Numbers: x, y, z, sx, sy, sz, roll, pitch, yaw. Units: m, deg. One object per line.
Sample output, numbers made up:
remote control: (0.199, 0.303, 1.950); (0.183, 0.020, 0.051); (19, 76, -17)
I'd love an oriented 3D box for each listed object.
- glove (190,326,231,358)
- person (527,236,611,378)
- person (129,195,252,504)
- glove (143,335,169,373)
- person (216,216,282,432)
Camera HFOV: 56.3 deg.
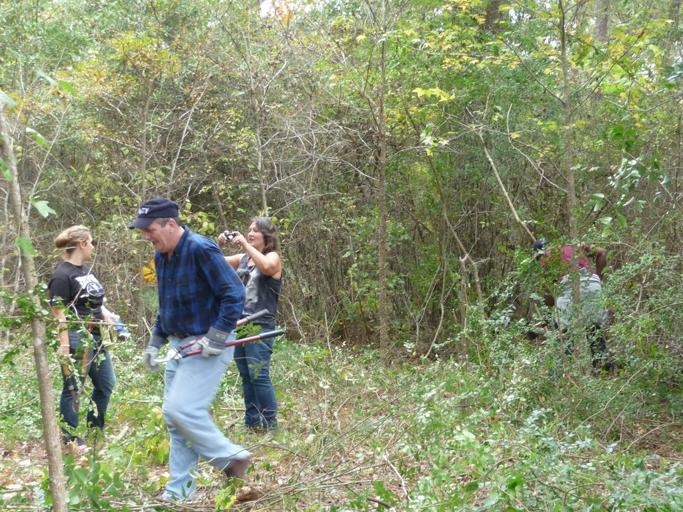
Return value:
glove: (-0.981, 0.628, 4.836); (0.249, 0.189, 0.206); (6, 5, -42)
person: (2.389, 0.464, 6.503); (0.725, 1.305, 1.196); (1, 4, 26)
person: (-1.164, 0.747, 5.042); (0.890, 2.341, 0.925); (-2, -7, 18)
glove: (-1.479, 0.763, 5.119); (0.195, 0.259, 0.080); (-13, -27, 25)
person: (-0.921, 0.689, 6.214); (0.702, 2.092, 0.774); (2, -4, -37)
